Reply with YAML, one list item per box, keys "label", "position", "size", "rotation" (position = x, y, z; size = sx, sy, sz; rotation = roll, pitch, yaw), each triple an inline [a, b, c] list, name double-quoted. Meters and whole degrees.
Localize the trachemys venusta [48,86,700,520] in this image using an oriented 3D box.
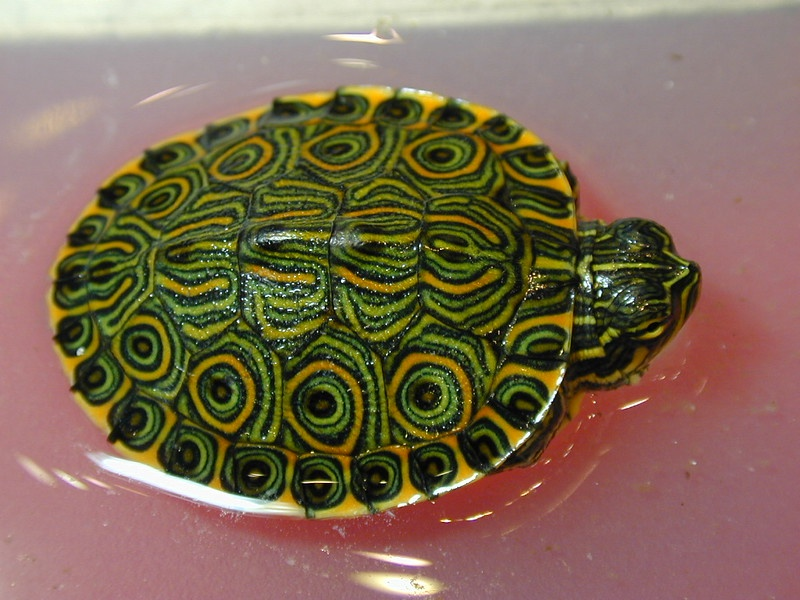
- label: "trachemys venusta"
  position: [-0.246, 0.004, 5.138]
  size: [3.152, 0.720, 2.227]
  rotation: [-3, 82, 2]
